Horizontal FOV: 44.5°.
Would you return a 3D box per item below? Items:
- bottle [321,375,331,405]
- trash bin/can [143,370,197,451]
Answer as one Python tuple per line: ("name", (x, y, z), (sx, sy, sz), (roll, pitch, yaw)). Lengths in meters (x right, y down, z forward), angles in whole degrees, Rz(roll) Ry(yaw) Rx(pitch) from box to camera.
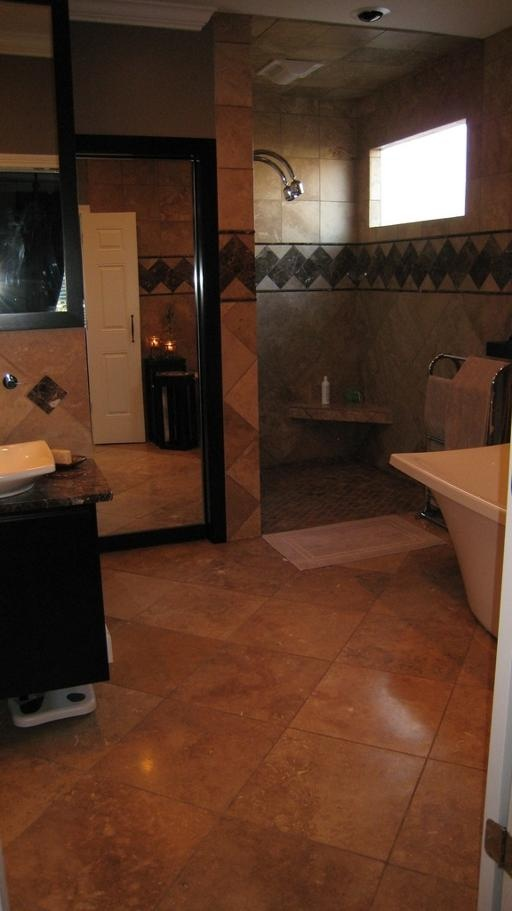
("bottle", (0.525, -0.486, 4.714), (0.062, 0.209, 0.217), (0, 8, 8))
("trash bin/can", (-0.483, -0.253, 3.337), (0.291, 0.679, 0.324), (-1, 7, -13))
